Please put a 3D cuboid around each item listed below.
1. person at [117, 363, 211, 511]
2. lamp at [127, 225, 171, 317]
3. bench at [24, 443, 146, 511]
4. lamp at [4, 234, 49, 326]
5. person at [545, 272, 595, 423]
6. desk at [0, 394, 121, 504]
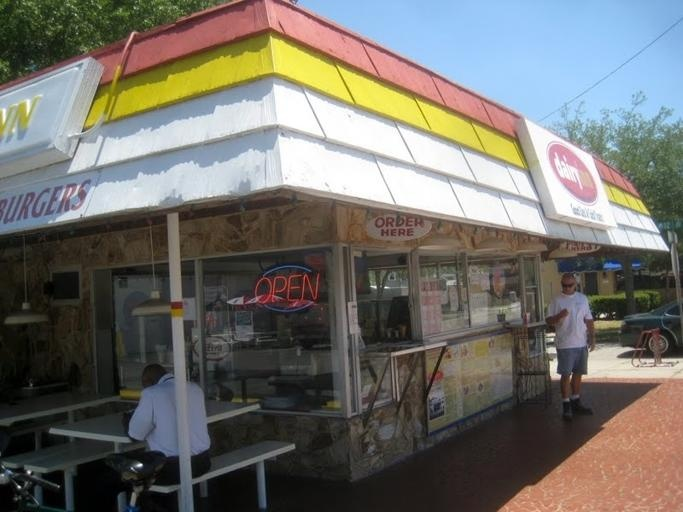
[{"bbox_3d":[-1.813,1.778,5.590,0.849,1.395,0.675,-2,3,35],"label":"person"},{"bbox_3d":[-2.313,0.194,6.678,0.526,0.992,0.545,-3,0,8],"label":"lamp"},{"bbox_3d":[-2.819,2.431,5.939,0.813,0.643,1.303,-3,-8,19],"label":"bench"},{"bbox_3d":[-4.989,0.380,8.635,0.541,1.418,2.094,2,-10,-30],"label":"lamp"},{"bbox_3d":[3.955,1.494,9.248,0.697,2.399,1.288,-7,-10,23],"label":"person"},{"bbox_3d":[-3.443,2.384,6.703,0.962,1.396,1.496,-3,-5,21],"label":"desk"}]
